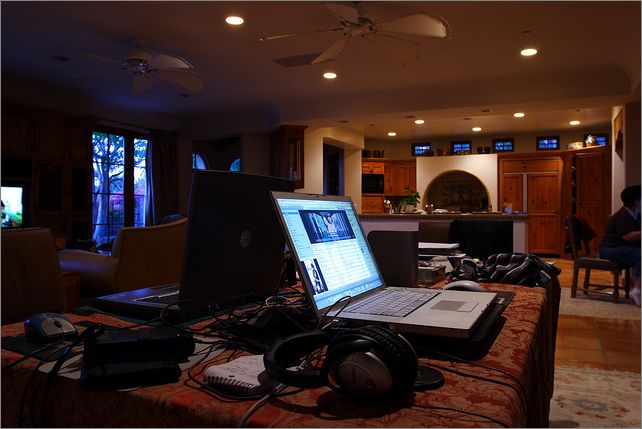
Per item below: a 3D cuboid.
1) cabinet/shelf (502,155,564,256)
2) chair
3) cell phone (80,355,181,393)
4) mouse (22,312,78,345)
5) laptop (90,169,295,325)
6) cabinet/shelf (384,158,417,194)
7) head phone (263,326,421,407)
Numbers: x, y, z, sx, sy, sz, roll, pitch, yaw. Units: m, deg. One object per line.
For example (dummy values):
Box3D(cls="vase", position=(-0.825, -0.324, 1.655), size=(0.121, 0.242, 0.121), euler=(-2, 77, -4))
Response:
Box3D(cls="cabinet/shelf", position=(4.859, -0.234, 10.222), size=(1.280, 2.358, 0.326), euler=(1, 5, 33))
Box3D(cls="chair", position=(3.421, 0.533, 5.407), size=(0.636, 0.936, 0.618), euler=(-2, 2, -36))
Box3D(cls="cell phone", position=(-0.536, 0.443, 1.232), size=(0.254, 0.044, 0.136), euler=(3, 2, -32))
Box3D(cls="mouse", position=(-0.848, 0.358, 1.396), size=(0.153, 0.049, 0.082), euler=(-4, -2, 37))
Box3D(cls="laptop", position=(-0.437, 0.110, 1.685), size=(0.573, 0.508, 0.670), euler=(1, 0, 27))
Box3D(cls="cabinet/shelf", position=(2.046, -0.928, 11.448), size=(1.023, 0.795, 0.584), euler=(-1, 2, -5))
Box3D(cls="head phone", position=(0.026, 0.401, 1.241), size=(0.369, 0.153, 0.306), euler=(-4, 3, 32))
